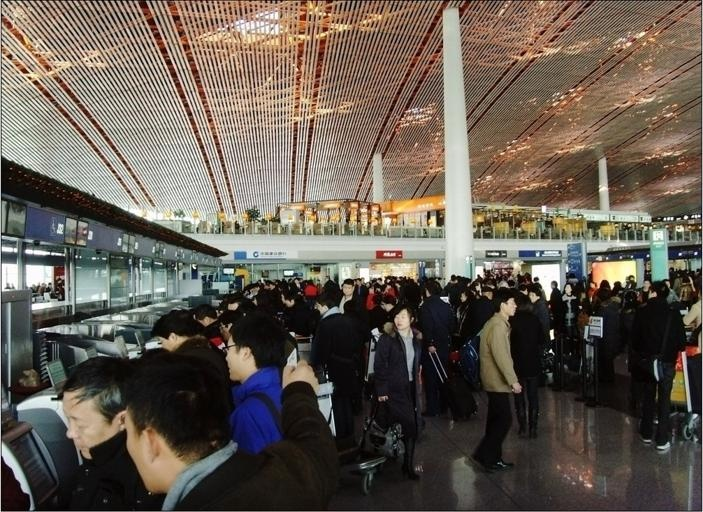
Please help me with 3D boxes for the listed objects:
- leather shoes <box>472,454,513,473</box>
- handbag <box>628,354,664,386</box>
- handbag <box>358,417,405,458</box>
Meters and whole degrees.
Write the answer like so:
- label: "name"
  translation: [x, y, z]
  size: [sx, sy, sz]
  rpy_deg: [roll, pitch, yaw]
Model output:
- label: "leather shoes"
  translation: [1.597, 2.261, 5.436]
  size: [0.494, 0.195, 0.160]
  rpy_deg: [-2, 5, -8]
- label: "handbag"
  translation: [3.450, 1.345, 5.856]
  size: [0.394, 0.309, 0.362]
  rpy_deg: [4, -18, 6]
- label: "handbag"
  translation: [0.286, 1.834, 5.088]
  size: [0.443, 0.419, 0.324]
  rpy_deg: [5, -7, -3]
